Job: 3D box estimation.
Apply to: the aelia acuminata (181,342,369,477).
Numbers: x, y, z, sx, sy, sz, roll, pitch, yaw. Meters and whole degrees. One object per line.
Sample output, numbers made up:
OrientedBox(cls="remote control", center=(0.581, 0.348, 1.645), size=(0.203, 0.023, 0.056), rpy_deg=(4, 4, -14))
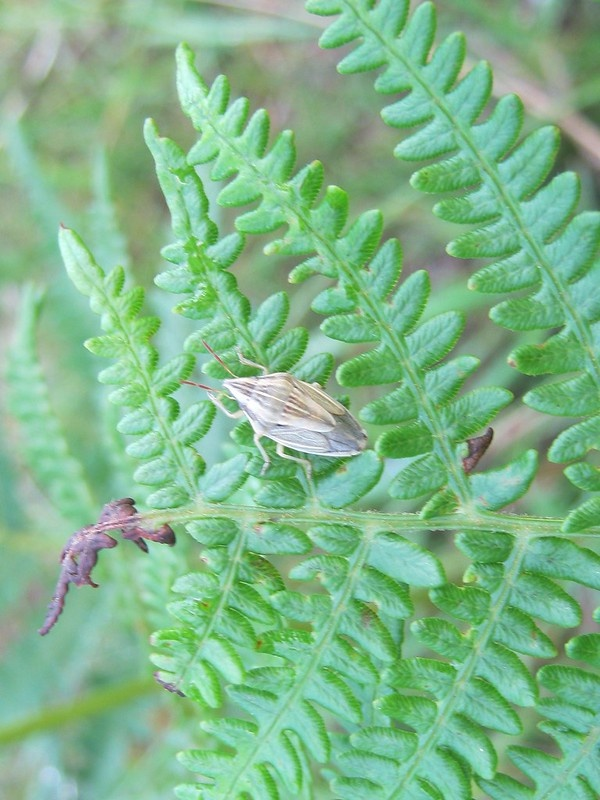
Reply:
OrientedBox(cls="aelia acuminata", center=(-0.116, 0.124, 3.462), size=(0.777, 0.414, 0.168), rpy_deg=(10, 70, 7))
